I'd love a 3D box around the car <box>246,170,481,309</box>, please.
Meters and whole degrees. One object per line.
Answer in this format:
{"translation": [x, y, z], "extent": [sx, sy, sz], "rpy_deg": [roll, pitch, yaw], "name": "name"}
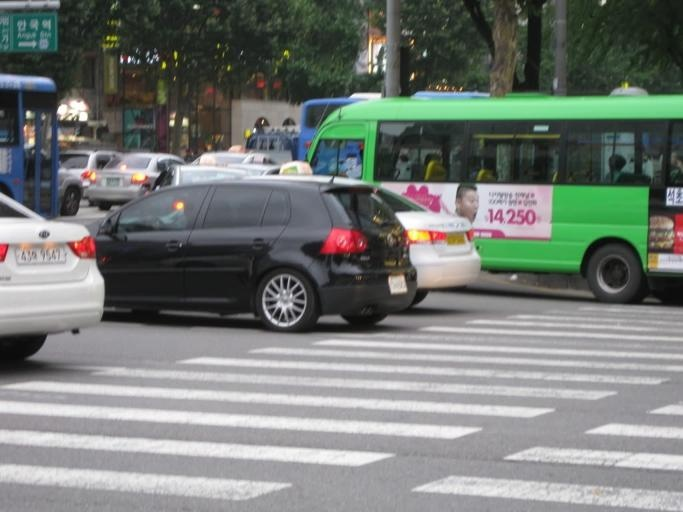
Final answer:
{"translation": [0.488, -0.288, 13.078], "extent": [3.238, 1.426, 1.697], "rpy_deg": [0, 3, 15], "name": "car"}
